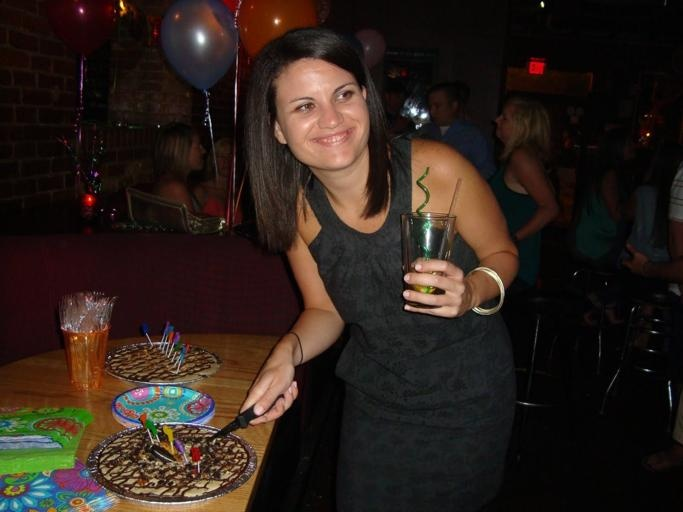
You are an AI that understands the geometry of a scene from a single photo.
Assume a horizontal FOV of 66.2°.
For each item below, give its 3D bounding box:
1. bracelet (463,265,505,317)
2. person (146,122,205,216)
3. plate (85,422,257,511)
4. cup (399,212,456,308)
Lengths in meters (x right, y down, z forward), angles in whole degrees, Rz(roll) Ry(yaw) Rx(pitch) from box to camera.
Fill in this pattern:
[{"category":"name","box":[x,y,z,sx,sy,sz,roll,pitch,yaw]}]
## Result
[{"category":"bracelet","box":[0.429,0.104,1.553,0.098,0.188,0.175,4,15,14]},{"category":"person","box":[-1.129,-0.620,3.594,0.360,0.585,0.723,-3,15,-15]},{"category":"plate","box":[-0.412,0.501,1.235,0.205,0.023,0.204,8,16,5]},{"category":"cup","box":[0.215,-0.026,1.378,0.140,0.176,0.141,1,15,0]}]
